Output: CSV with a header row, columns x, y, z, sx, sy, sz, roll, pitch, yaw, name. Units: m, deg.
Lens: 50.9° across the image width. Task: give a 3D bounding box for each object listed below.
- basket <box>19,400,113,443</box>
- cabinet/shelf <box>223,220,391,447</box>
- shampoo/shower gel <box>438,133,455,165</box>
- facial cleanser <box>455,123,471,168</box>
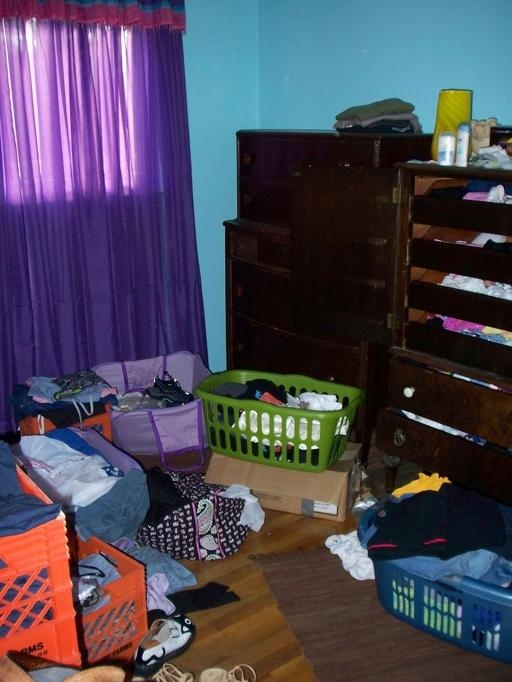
x,y,z,sx,sy,sz,roll,pitch,yaw,name
-0.865,0.371,2.490,0.271,0.174,0.266,-8,16,-36,basket
0.271,0.217,3.017,1.054,0.989,0.429,27,44,31,cabinet/shelf
0.611,-0.621,1.726,0.048,0.095,0.034,1,12,7,shampoo/shower gel
0.654,-0.624,1.705,0.044,0.143,0.172,3,13,20,facial cleanser
